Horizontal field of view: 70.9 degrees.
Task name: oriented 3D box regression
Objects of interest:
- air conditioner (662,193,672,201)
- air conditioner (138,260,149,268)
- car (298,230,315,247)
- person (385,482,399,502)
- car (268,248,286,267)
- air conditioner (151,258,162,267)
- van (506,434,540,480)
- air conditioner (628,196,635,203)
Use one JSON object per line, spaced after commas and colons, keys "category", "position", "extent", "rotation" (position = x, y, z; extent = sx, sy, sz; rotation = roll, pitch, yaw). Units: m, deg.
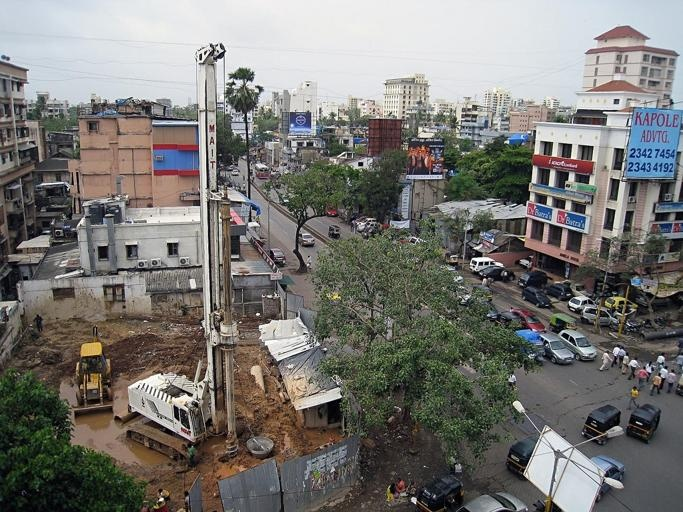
{"category": "air conditioner", "position": [30.574, -5.834, 45.377], "extent": [0.769, 0.808, 0.627], "rotation": [0, 4, 3]}
{"category": "air conditioner", "position": [-16.517, 0.499, 39.680], "extent": [0.644, 0.664, 0.667], "rotation": [-2, 8, -15]}
{"category": "car", "position": [-4.617, -2.300, 60.913], "extent": [1.550, 1.695, 1.713], "rotation": [-10, 15, -28]}
{"category": "person", "position": [2.335, 11.299, 22.799], "extent": [0.561, 0.778, 0.511], "rotation": [-3, 13, -1]}
{"category": "car", "position": [-7.531, -0.107, 54.986], "extent": [1.133, 1.202, 2.517], "rotation": [-4, 27, -18]}
{"category": "air conditioner", "position": [-15.609, 0.343, 40.230], "extent": [1.008, 1.006, 0.561], "rotation": [-1, 9, -19]}
{"category": "van", "position": [9.731, 10.287, 25.189], "extent": [2.658, 1.402, 1.288], "rotation": [-15, 19, -40]}
{"category": "air conditioner", "position": [26.795, -5.536, 44.466], "extent": [0.910, 0.707, 0.183], "rotation": [-10, 15, -27]}
